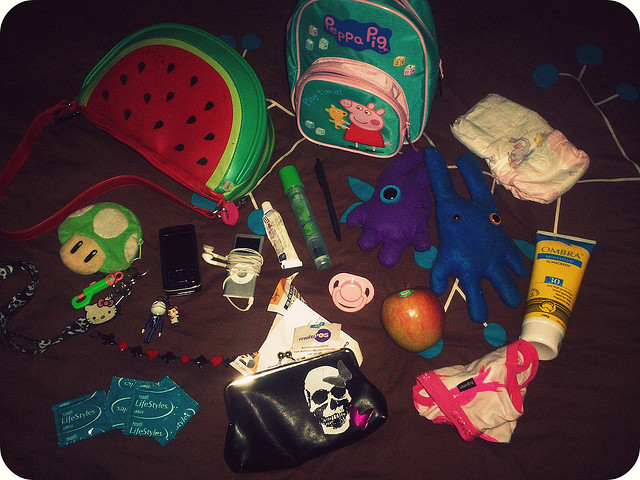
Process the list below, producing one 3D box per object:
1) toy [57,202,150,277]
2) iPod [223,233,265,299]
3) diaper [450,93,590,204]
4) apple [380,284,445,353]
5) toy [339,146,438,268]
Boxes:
[{"bbox_3d":[-0.695,-0.018,1.877,0.257,0.066,0.263,0,58,-9],"label":"toy"},{"bbox_3d":[-0.240,0.081,1.845,0.092,0.172,0.117,7,18,9],"label":"iPod"},{"bbox_3d":[0.636,-0.284,1.892,0.415,0.268,0.090,49,-6,16],"label":"diaper"},{"bbox_3d":[0.279,0.240,1.784,0.185,0.197,0.155,10,18,18],"label":"apple"},{"bbox_3d":[0.233,-0.081,1.822,0.310,0.360,0.106,18,-14,5],"label":"toy"}]
